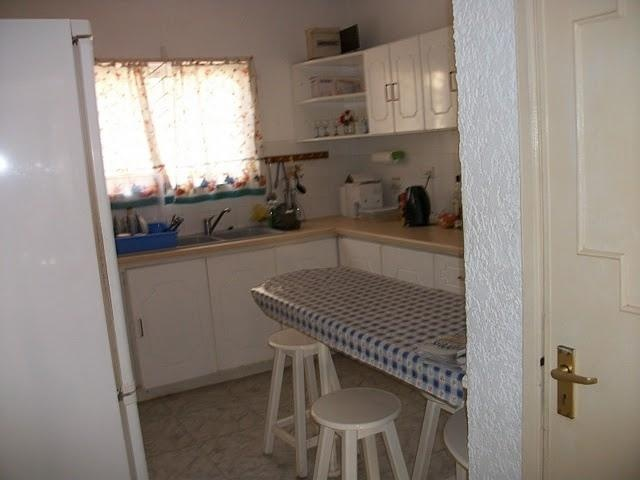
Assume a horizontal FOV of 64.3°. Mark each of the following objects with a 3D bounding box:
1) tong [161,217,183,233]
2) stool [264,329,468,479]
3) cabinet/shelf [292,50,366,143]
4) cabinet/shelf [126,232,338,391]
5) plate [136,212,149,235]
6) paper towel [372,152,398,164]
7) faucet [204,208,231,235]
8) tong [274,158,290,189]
[{"bbox_3d":[-1.066,-0.083,3.724,0.121,0.162,0.049,15,-19,40],"label":"tong"},{"bbox_3d":[0.183,0.732,2.178,0.296,0.521,0.823,-10,19,-33],"label":"stool"},{"bbox_3d":[0.076,-1.200,4.335,0.625,0.643,0.491,-3,11,4],"label":"cabinet/shelf"},{"bbox_3d":[-0.632,0.480,3.217,1.019,0.628,0.328,-7,10,-30],"label":"cabinet/shelf"},{"bbox_3d":[-1.254,-0.103,3.581,0.066,0.113,0.167,-8,12,-19],"label":"plate"},{"bbox_3d":[0.528,-0.681,4.215,0.125,0.039,0.120,6,24,25],"label":"paper towel"},{"bbox_3d":[-0.831,-0.148,4.104,0.208,0.193,0.255,-4,11,-3],"label":"faucet"},{"bbox_3d":[-0.340,-0.561,4.396,0.139,0.218,0.033,-9,12,-24],"label":"tong"}]
